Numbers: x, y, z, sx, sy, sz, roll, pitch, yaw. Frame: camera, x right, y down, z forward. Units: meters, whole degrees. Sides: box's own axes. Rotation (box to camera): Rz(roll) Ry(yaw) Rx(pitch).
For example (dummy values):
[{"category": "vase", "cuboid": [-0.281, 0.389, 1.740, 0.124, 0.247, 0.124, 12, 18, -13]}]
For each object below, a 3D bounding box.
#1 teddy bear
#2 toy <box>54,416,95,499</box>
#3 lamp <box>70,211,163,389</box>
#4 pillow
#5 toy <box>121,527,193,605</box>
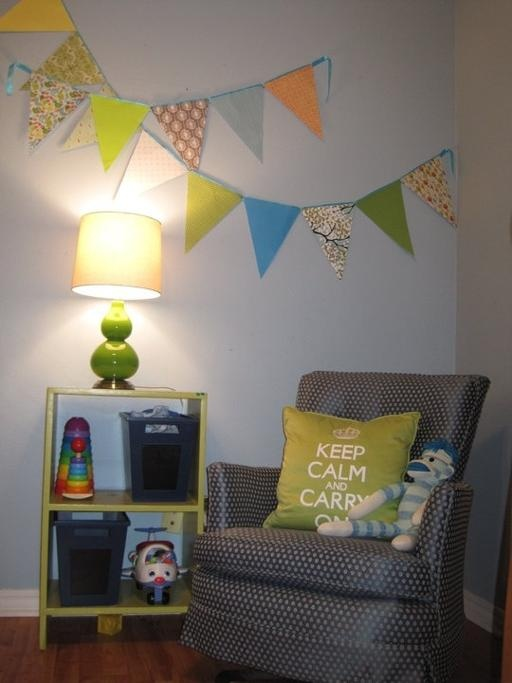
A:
[{"category": "teddy bear", "cuboid": [0.343, 0.373, 1.564, 0.271, 0.292, 0.257, 19, 6, -37]}, {"category": "toy", "cuboid": [-0.570, 0.369, 1.903, 0.115, 0.252, 0.121, 5, -8, -21]}, {"category": "lamp", "cuboid": [-0.506, -0.129, 2.075, 0.305, 0.601, 0.342, 9, -11, -43]}, {"category": "pillow", "cuboid": [0.242, 0.350, 1.612, 0.342, 0.271, 0.149, 2, -13, 13]}, {"category": "toy", "cuboid": [-0.349, 0.717, 1.951, 0.211, 0.134, 0.230, 1, 2, -5]}]
